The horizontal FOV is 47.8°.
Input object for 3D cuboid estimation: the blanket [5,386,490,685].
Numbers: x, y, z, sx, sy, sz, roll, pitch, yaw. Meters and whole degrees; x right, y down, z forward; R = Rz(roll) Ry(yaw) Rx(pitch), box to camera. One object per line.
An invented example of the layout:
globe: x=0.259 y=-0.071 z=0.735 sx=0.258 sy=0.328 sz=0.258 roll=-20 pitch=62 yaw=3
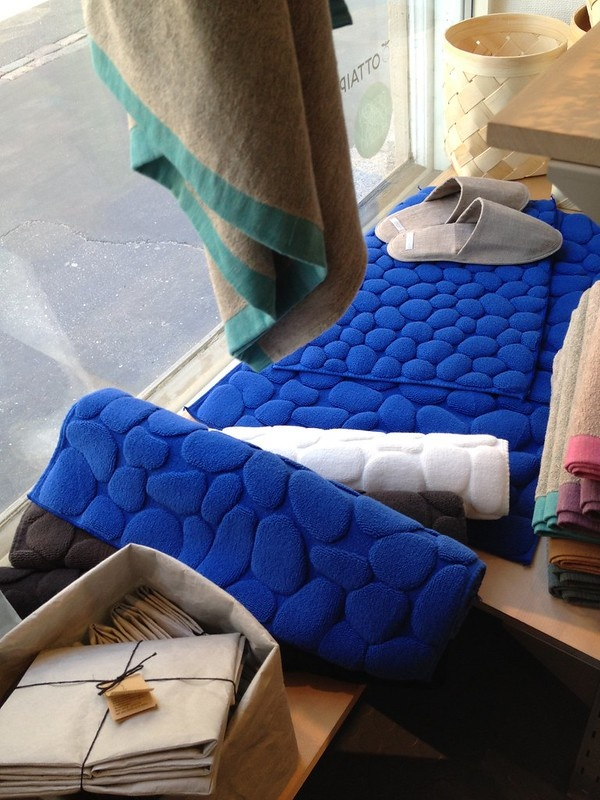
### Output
blanket: x=-0.068 y=0.180 z=0.887 sx=0.535 sy=0.166 sz=0.264 roll=21 pitch=61 yaw=18

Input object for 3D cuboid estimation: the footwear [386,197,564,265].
footwear: x=0.322 y=-0.296 z=1.277 sx=0.279 sy=0.076 sz=0.129 roll=-1 pitch=46 yaw=14

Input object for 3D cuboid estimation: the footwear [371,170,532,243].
footwear: x=0.281 y=-0.389 z=1.379 sx=0.135 sy=0.082 sz=0.312 roll=13 pitch=32 yaw=28

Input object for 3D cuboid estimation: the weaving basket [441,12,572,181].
weaving basket: x=0.424 y=-0.613 z=1.555 sx=0.258 sy=0.238 sz=0.240 roll=-6 pitch=7 yaw=-37

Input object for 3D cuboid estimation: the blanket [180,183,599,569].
blanket: x=0.155 y=-0.031 z=1.188 sx=0.596 sy=0.039 sz=0.734 roll=10 pitch=44 yaw=22
